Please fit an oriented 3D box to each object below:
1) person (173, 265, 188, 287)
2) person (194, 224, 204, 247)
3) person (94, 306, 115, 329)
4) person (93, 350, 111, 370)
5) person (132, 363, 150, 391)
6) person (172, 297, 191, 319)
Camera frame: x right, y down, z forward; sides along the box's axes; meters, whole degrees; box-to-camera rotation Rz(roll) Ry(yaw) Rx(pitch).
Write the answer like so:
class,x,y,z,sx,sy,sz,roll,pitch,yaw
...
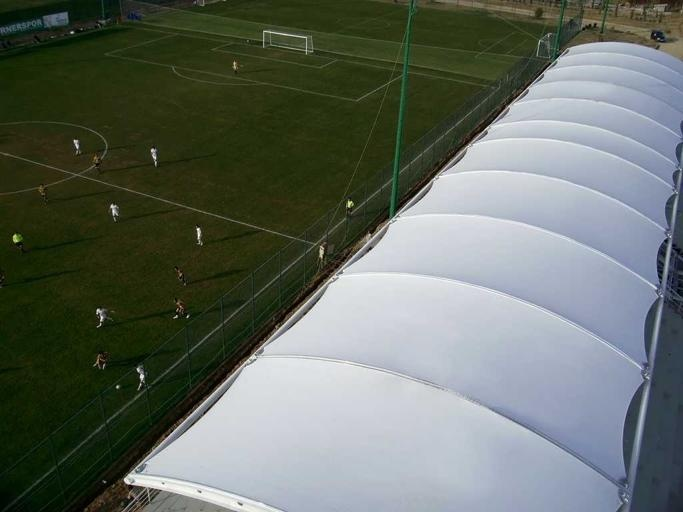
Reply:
class,x,y,z,sx,sy,sz,roll,pitch,yaw
person,-9.079,0.696,48.143,0.643,1.344,2.017,-5,33,-12
person,-8.622,-1.249,51.673,0.570,1.650,0.546,3,35,2
person,-12.688,2.911,45.578,0.849,0.992,1.222,-8,34,-16
person,-12.187,4.982,43.192,0.793,0.902,0.955,-6,33,-14
person,-9.612,5.727,41.133,0.469,1.349,0.613,15,56,-5
person,-8.651,2.422,45.977,0.869,1.354,1.354,-4,33,-11
